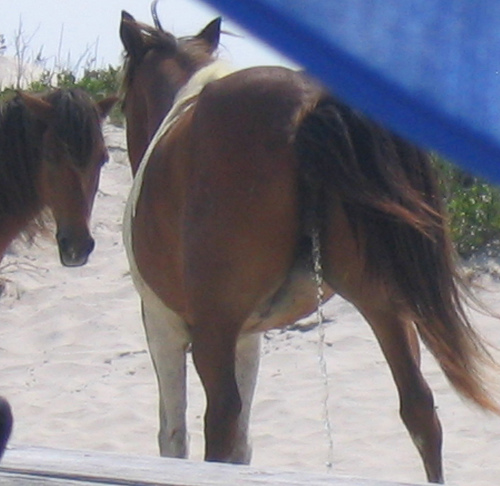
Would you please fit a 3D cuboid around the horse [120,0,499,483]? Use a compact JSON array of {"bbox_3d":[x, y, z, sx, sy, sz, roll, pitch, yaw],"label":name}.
[{"bbox_3d":[0.253,0.216,5.906,1.832,2.105,0.863,0,12,9],"label":"horse"}]
